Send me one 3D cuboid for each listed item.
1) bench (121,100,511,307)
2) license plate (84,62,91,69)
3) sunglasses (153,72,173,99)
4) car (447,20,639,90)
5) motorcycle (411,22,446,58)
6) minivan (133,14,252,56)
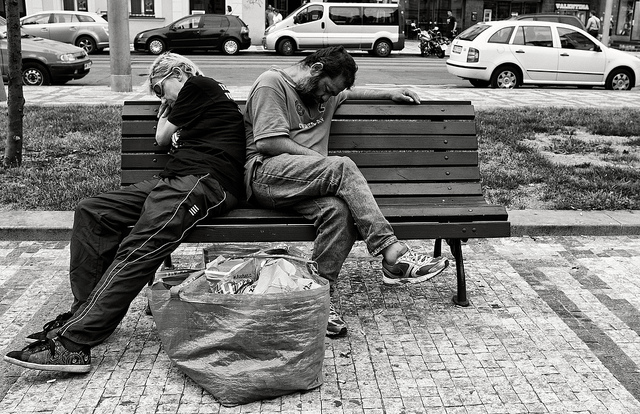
[{"bbox_3d":[0.071,-0.112,5.011,2.817,1.330,1.136,0,21,-9],"label":"bench"},{"bbox_3d":[-6.288,-3.834,16.447,0.110,0.157,0.600,-3,17,-14],"label":"license plate"},{"bbox_3d":[-1.265,-0.963,4.848,0.133,0.039,0.126,-40,12,-32],"label":"sunglasses"},{"bbox_3d":[6.172,-4.168,16.938,4.732,1.525,2.097,-2,17,-7],"label":"car"},{"bbox_3d":[5.099,-7.760,28.319,1.429,1.396,2.436,-15,26,-17],"label":"motorcycle"},{"bbox_3d":[-5.350,-7.374,26.106,4.984,1.670,2.251,0,13,-3],"label":"minivan"}]
